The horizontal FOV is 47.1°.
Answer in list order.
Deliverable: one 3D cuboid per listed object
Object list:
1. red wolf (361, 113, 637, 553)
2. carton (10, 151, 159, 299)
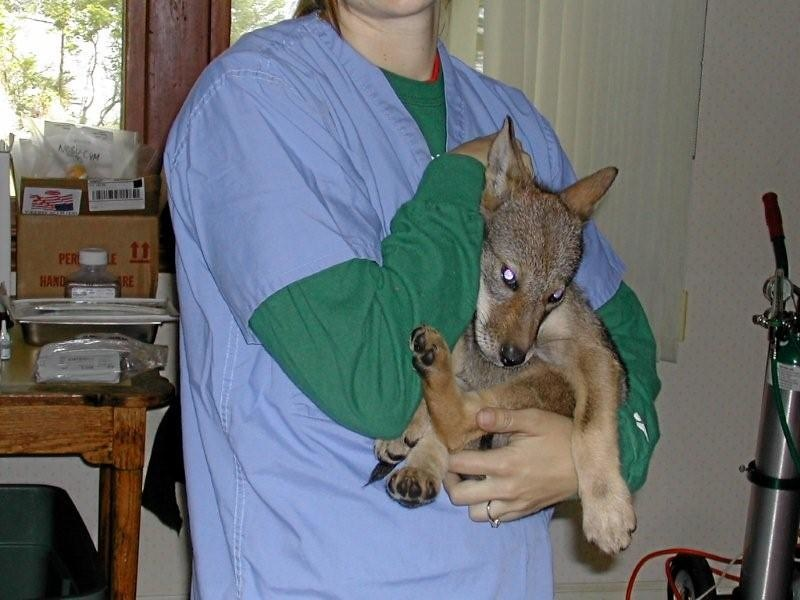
[{"bbox_3d":[0.243,0.040,1.489,0.529,0.593,0.421,-21,35,-41],"label":"red wolf"},{"bbox_3d":[-0.780,-0.168,2.283,0.292,0.265,0.318,0,-1,-6],"label":"carton"}]
